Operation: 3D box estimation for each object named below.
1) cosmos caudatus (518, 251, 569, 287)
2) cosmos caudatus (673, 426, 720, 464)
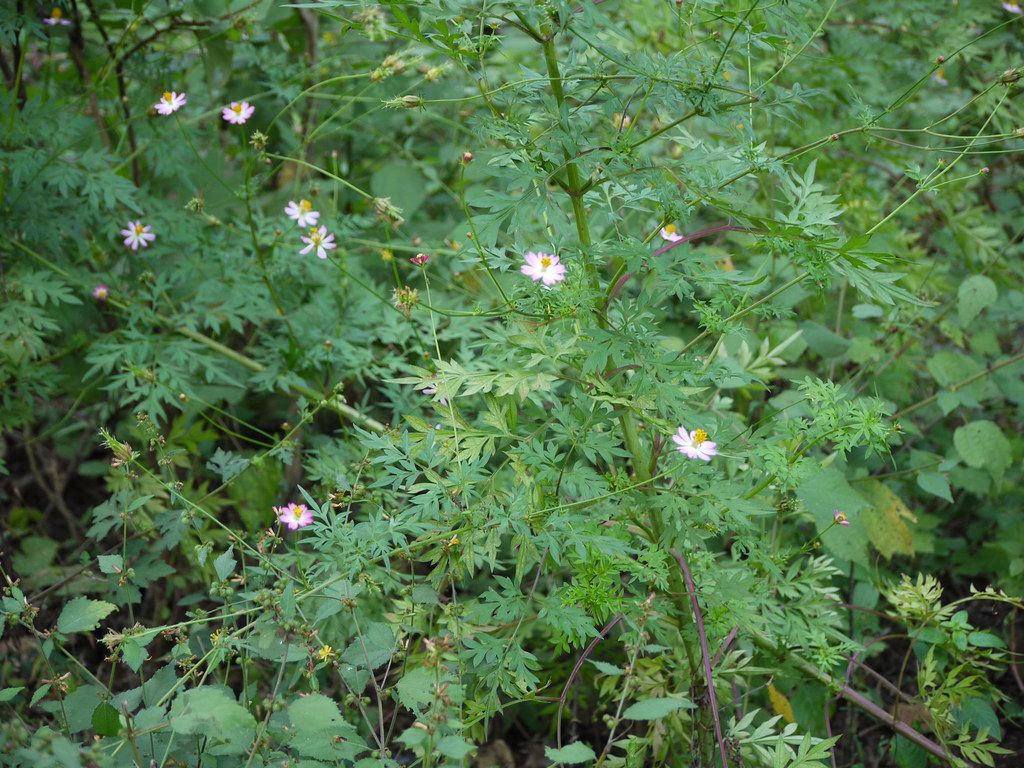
[{"bbox_3d":[0.079,-0.293,2.070,0.088,0.096,0.043,-5,-38,-19],"label":"cosmos caudatus"},{"bbox_3d":[0.459,0.141,2.047,0.090,0.095,0.051,-25,-37,-25],"label":"cosmos caudatus"}]
